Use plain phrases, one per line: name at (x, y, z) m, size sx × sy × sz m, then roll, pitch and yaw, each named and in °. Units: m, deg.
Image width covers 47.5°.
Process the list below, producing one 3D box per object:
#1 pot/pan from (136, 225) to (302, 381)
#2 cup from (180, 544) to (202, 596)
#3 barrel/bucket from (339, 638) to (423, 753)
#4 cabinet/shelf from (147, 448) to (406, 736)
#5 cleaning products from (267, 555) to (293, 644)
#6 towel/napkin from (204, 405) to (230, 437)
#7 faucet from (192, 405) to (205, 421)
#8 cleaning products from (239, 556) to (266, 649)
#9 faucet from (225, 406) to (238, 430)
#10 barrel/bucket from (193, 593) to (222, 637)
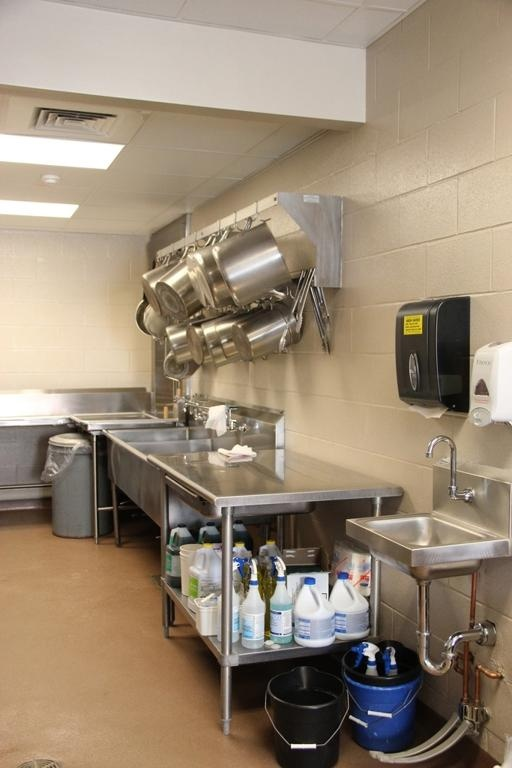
pot/pan at (-0.216, -0.414, 2.951) m, size 0.624 × 0.631 × 1.428 m, roll 0°, pitch -1°, yaw -20°
cup at (-0.255, 0.738, 2.312) m, size 0.104 × 0.162 × 0.103 m, roll -6°, pitch -3°, yaw 0°
barrel/bucket at (0.355, 0.878, 1.778) m, size 0.256 × 0.292 × 0.283 m, roll 1°, pitch 14°, yaw 13°
cabinet/shelf at (0.018, 0.524, 2.222) m, size 0.714 × 0.849 × 0.997 m, roll 0°, pitch 2°, yaw -19°
cleaning products at (0.083, 0.692, 1.892) m, size 0.072 × 0.250 × 0.185 m, roll 0°, pitch -1°, yaw 3°
towel/napkin at (-0.239, 0.225, 3.545) m, size 0.067 × 0.172 × 0.168 m, roll 12°, pitch -5°, yaw -33°
faucet at (-0.392, 0.209, 4.061) m, size 0.034 × 0.121 × 0.229 m, roll 0°, pitch -1°, yaw -23°
cleaning products at (-0.011, 0.699, 1.840) m, size 0.072 × 0.255 × 0.101 m, roll 0°, pitch -1°, yaw 0°
faucet at (-0.135, 0.211, 3.461) m, size 0.047 × 0.142 × 0.162 m, roll 0°, pitch -1°, yaw -25°
barrel/bucket at (-0.156, 0.779, 2.000) m, size 0.111 × 0.151 × 0.152 m, roll 2°, pitch 0°, yaw -13°
